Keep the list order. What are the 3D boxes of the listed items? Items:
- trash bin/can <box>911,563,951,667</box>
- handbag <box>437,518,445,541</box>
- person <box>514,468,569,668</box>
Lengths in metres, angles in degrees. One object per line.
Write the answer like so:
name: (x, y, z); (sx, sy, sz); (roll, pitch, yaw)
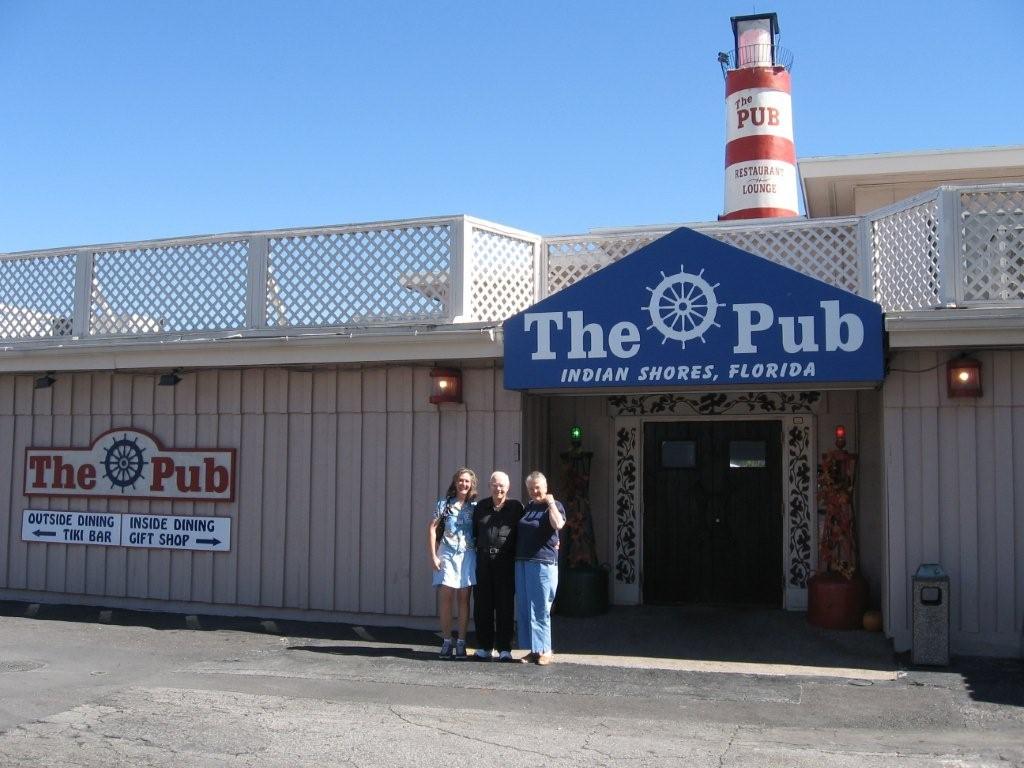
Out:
trash bin/can: (4.347, 2.377, 10.833); (0.363, 1.004, 0.281); (1, 2, 17)
handbag: (-0.743, 1.513, 10.962); (0.096, 0.262, 0.060); (1, 2, 0)
person: (0.273, 1.891, 10.844); (0.507, 1.947, 0.394); (1, 2, 19)
